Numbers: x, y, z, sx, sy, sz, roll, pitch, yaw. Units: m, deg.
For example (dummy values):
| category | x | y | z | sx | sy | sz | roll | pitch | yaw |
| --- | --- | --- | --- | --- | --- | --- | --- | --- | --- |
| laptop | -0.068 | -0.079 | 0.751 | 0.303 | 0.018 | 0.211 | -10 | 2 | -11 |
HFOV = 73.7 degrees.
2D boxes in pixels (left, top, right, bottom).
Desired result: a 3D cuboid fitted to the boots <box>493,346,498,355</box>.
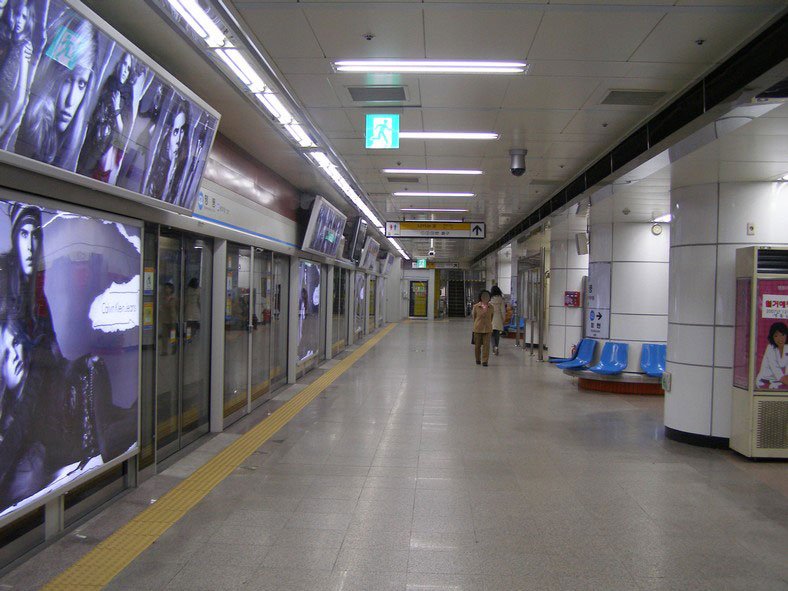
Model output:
| category | x | y | z | sx | sy | sz | roll | pitch | yaw |
| --- | --- | --- | --- | --- | --- | --- | --- | --- | --- |
| boots | 2.795 | 1.554 | 14.459 | 0.085 | 0.117 | 0.272 | -1 | -34 | 5 |

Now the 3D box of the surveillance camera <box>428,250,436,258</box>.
| category | x | y | z | sx | sy | sz | roll | pitch | yaw |
| --- | --- | --- | --- | --- | --- | --- | --- | --- | --- |
| surveillance camera | 2.181 | -2.427 | 30.534 | 0.264 | 0.343 | 0.373 | 5 | -2 | -2 |

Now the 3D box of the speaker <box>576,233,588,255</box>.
| category | x | y | z | sx | sy | sz | roll | pitch | yaw |
| --- | --- | --- | --- | --- | --- | --- | --- | --- | --- |
| speaker | 4.091 | -1.155 | 11.463 | 0.210 | 0.442 | 0.445 | 0 | -4 | 4 |

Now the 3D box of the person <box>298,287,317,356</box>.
| category | x | y | z | sx | sy | sz | roll | pitch | yaw |
| --- | --- | --- | --- | --- | --- | --- | --- | --- | --- |
| person | -1.761 | 0.647 | 10.604 | 0.216 | 1.004 | 0.998 | 5 | -7 | 7 |

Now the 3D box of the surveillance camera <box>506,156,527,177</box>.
| category | x | y | z | sx | sy | sz | roll | pitch | yaw |
| --- | --- | --- | --- | --- | --- | --- | --- | --- | --- |
| surveillance camera | 1.702 | -1.808 | 7.228 | 0.147 | 0.233 | 0.267 | 2 | 4 | 23 |

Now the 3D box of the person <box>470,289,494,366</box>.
| category | x | y | z | sx | sy | sz | roll | pitch | yaw |
| --- | --- | --- | --- | --- | --- | --- | --- | --- | --- |
| person | 2.108 | 0.772 | 12.572 | 0.460 | 1.754 | 1.212 | 1 | 3 | 8 |

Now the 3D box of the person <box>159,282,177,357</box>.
| category | x | y | z | sx | sy | sz | roll | pitch | yaw |
| --- | --- | --- | --- | --- | --- | --- | --- | --- | --- |
| person | -2.381 | 0.279 | 5.675 | 0.156 | 0.752 | 0.164 | 1 | 0 | 10 |

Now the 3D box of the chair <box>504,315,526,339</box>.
| category | x | y | z | sx | sy | sz | roll | pitch | yaw |
| --- | --- | --- | --- | --- | --- | --- | --- | --- | --- |
| chair | 4.307 | 1.148 | 19.623 | 1.020 | 1.085 | 1.069 | 1 | -6 | -1 |
